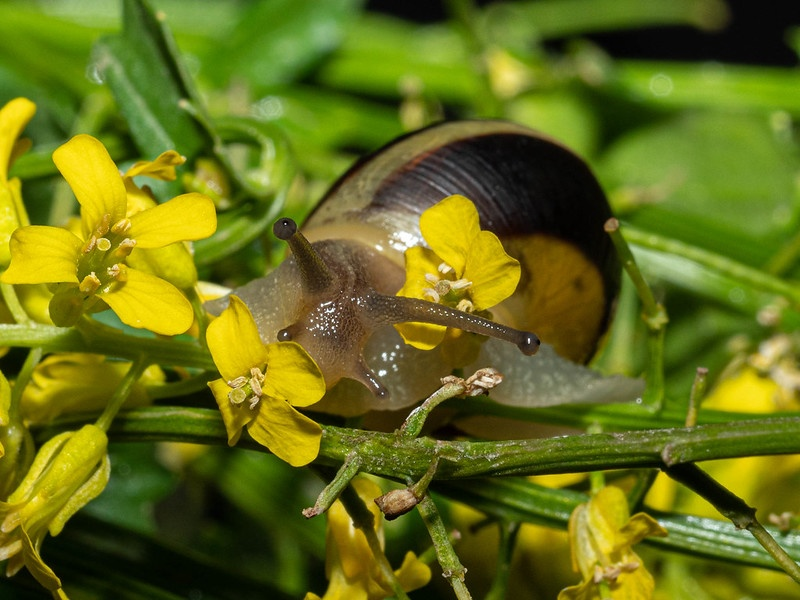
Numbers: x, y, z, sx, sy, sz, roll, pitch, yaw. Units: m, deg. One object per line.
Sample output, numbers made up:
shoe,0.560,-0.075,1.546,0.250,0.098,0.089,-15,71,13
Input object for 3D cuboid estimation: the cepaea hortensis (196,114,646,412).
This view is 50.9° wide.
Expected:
cepaea hortensis,0.020,-0.041,0.763,0.379,0.203,0.220,-3,7,-17
